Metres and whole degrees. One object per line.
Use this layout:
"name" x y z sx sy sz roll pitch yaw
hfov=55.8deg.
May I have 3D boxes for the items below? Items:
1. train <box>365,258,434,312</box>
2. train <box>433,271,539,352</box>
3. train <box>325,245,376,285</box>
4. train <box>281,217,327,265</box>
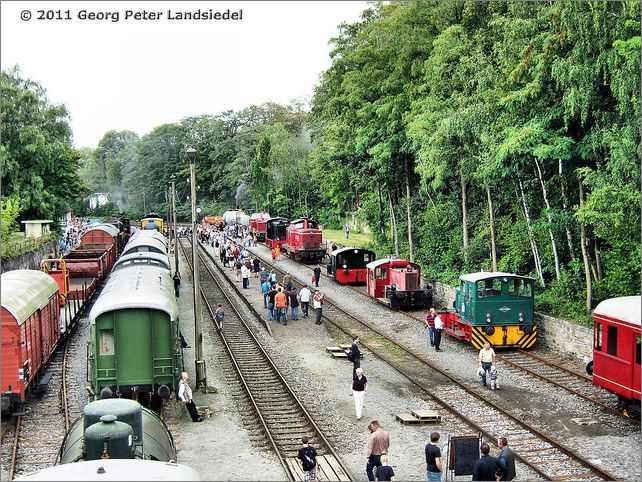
"train" 4.722 2.491 37.428 3.587 2.934 2.948 -1 6 -9
"train" 7.966 3.164 27.715 2.308 2.365 4.620 0 4 -9
"train" 2.196 1.941 44.069 2.956 2.683 2.505 -1 6 -13
"train" -1.538 -0.128 54.878 3.441 4.099 3.081 -3 6 -17
